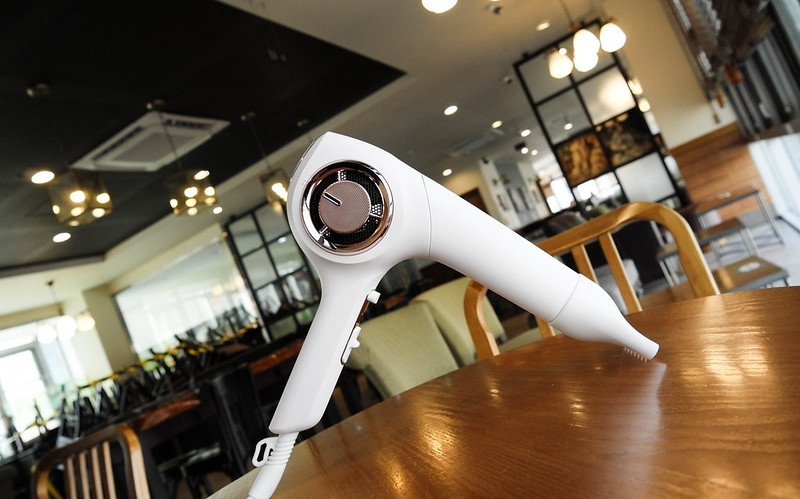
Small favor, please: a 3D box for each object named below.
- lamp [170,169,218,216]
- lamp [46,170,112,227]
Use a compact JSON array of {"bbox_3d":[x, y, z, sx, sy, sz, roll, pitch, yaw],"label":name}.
[{"bbox_3d":[-2.210,-0.583,5.864,0.478,0.475,0.467,5,-2,0],"label":"lamp"},{"bbox_3d":[-2.973,-0.493,5.040,0.526,0.388,0.524,-10,-6,1],"label":"lamp"}]
